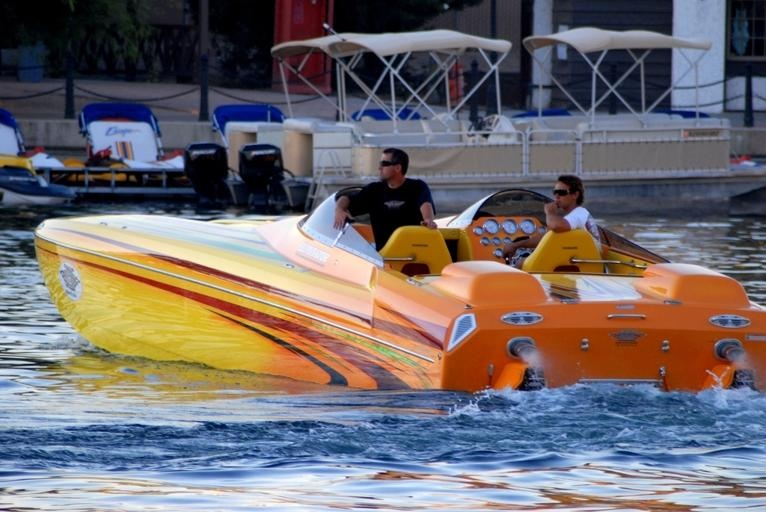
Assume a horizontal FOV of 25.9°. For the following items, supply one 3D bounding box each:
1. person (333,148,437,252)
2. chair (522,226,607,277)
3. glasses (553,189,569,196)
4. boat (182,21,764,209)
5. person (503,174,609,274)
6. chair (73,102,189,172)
[{"bbox_3d":[0.036,-0.524,17.991,1.287,1.064,0.896,-8,7,-12],"label":"person"},{"bbox_3d":[1.849,-0.033,17.244,0.746,0.286,0.591,1,6,-5],"label":"chair"},{"bbox_3d":[1.857,-0.661,17.688,0.105,0.025,0.093,18,-15,-24],"label":"glasses"},{"bbox_3d":[2.888,-2.836,29.544,9.912,2.224,5.117,0,1,-9],"label":"boat"},{"bbox_3d":[1.681,-0.384,17.739,1.251,0.790,0.710,-9,13,-19],"label":"person"},{"bbox_3d":[-4.761,-2.209,31.236,1.852,1.282,4.152,-1,3,-8],"label":"chair"}]
